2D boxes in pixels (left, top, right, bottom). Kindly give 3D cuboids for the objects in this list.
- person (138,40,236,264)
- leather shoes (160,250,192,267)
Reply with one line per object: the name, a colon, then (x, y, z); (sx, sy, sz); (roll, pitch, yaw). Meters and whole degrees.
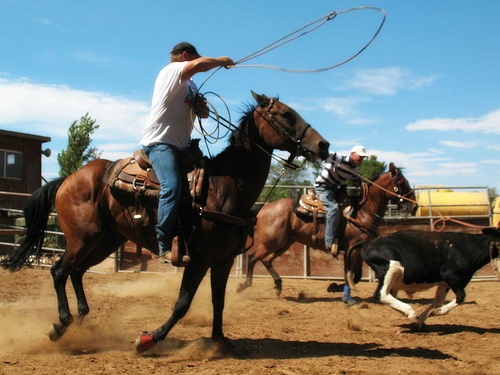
person: (-0.961, -0.348, 6.932); (0.882, 2.596, 0.533); (1, 2, -13)
leather shoes: (-0.936, 0.898, 6.860); (0.479, 0.229, 0.168); (-2, -5, 19)
